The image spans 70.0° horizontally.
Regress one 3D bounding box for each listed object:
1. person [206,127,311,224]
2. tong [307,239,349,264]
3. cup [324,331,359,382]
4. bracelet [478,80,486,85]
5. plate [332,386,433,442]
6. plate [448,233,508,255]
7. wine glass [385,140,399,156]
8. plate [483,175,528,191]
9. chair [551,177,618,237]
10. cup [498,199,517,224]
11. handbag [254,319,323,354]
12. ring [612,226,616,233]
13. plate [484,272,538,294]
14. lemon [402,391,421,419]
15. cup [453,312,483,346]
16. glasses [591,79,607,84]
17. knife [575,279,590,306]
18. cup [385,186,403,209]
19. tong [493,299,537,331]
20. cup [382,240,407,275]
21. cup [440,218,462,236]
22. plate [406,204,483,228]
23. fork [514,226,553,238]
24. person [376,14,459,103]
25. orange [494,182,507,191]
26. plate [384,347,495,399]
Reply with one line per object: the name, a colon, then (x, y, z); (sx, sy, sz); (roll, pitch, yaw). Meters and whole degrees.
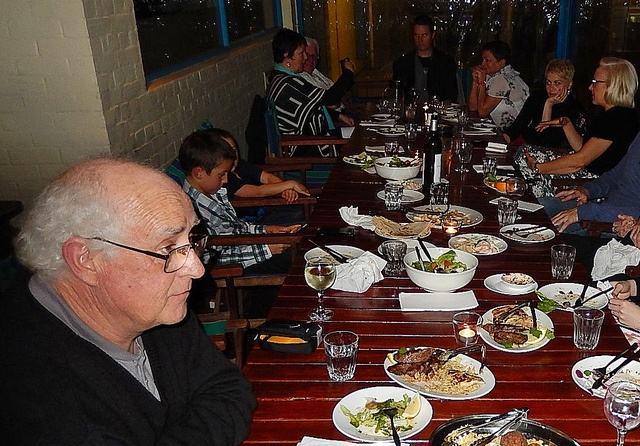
person: (-0.491, -0.437, 3.930); (1.035, 0.942, 0.673); (2, 33, 0)
tong: (0.046, 0.145, 2.328); (0.071, 0.026, 0.230); (-41, 48, -23)
cup: (0.075, 0.461, 1.573); (0.162, 0.152, 0.153); (-2, 10, 0)
bracelet: (1.911, -1.631, 5.303); (0.043, 0.043, 0.168); (10, 24, 26)
plate: (0.195, 0.589, 1.417); (0.310, 0.057, 0.189); (-4, 21, -6)
plate: (0.821, 0.109, 2.356); (0.165, 0.030, 0.151); (4, 21, 10)
wine glass: (0.572, -0.601, 3.657); (0.147, 0.120, 0.134); (-1, 13, 1)
plate: (1.230, -0.263, 3.022); (0.186, 0.038, 0.171); (-13, 23, -24)
chair: (1.965, -0.116, 3.340); (0.354, 0.418, 0.302); (2, 37, 17)
cup: (1.075, -0.074, 2.694); (0.158, 0.149, 0.146); (0, 10, 0)
handbag: (-0.118, 0.423, 1.736); (0.156, 0.048, 0.145); (2, 13, 9)
ring: (1.866, 0.035, 2.870); (0.026, 0.028, 0.007); (2, 2, 4)
plate: (0.859, 0.271, 2.037); (0.133, 0.016, 0.129); (9, 22, 31)
lemon: (0.294, 0.572, 1.426); (0.048, 0.020, 0.118); (-15, 15, 27)
cup: (0.551, 0.387, 1.699); (0.123, 0.091, 0.120); (-1, 7, 0)
glasses: (2.260, -1.139, 3.684); (0.053, 0.040, 0.167); (2, 21, 7)
knife: (1.145, 0.302, 1.974); (0.023, 0.020, 0.149); (8, 36, 39)
cup: (0.460, -0.160, 2.818); (0.153, 0.150, 0.140); (-1, 10, 0)
tong: (0.788, 0.368, 1.826); (0.126, 0.033, 0.115); (-14, 22, 5)
cup: (0.363, 0.165, 2.227); (0.169, 0.154, 0.151); (-1, 6, 2)
cup: (0.733, 0.022, 2.517); (0.099, 0.061, 0.093); (-5, 10, 1)
plate: (0.738, -0.048, 2.668); (0.228, 0.034, 0.230); (14, 26, 41)
fork: (1.178, 0.043, 2.524); (0.186, 0.027, 0.062); (-9, 37, -21)
person: (1.467, -2.253, 6.272); (0.903, 1.101, 0.445); (2, 24, 8)
orange: (1.221, -0.245, 3.061); (0.061, 0.052, 0.059); (1, -9, 37)
plate: (0.413, 0.510, 1.535); (0.250, 0.031, 0.176); (8, 24, 18)
